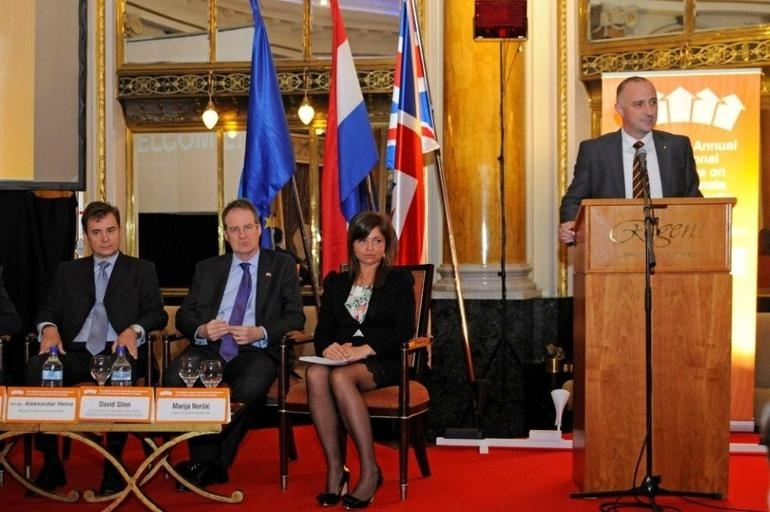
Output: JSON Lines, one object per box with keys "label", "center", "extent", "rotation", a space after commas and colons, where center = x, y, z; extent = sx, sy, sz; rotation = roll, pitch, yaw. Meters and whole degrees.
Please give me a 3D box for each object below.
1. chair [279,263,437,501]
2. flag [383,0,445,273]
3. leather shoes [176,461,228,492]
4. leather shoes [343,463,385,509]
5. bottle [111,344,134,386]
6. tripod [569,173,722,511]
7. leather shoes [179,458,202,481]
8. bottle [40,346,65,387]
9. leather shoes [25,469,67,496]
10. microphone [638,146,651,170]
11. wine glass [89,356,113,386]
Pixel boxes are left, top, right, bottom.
{"label": "chair", "center": [-0.159, 0.756, 5.735], "extent": [0.939, 1.378, 0.967], "rotation": [-1, 2, 2]}
{"label": "flag", "center": [0.203, -0.933, 6.689], "extent": [0.393, 1.971, 0.358], "rotation": [-1, 2, -1]}
{"label": "leather shoes", "center": [-1.147, 1.374, 5.503], "extent": [0.262, 0.112, 0.153], "rotation": [9, 0, -24]}
{"label": "leather shoes", "center": [-0.092, 1.377, 5.271], "extent": [0.119, 0.142, 0.343], "rotation": [6, 17, 34]}
{"label": "bottle", "center": [-1.520, 0.630, 5.078], "extent": [0.105, 0.234, 0.233], "rotation": [-1, 2, -18]}
{"label": "tripod", "center": [1.531, 0.541, 5.095], "extent": [0.898, 1.756, 0.489], "rotation": [0, 2, 20]}
{"label": "leather shoes", "center": [-1.225, 1.318, 5.491], "extent": [0.171, 0.120, 0.090], "rotation": [1, 2, 42]}
{"label": "bottle", "center": [-1.913, 0.631, 5.071], "extent": [0.101, 0.220, 0.226], "rotation": [-1, 2, -24]}
{"label": "leather shoes", "center": [-2.064, 1.383, 5.338], "extent": [0.226, 0.148, 0.354], "rotation": [-1, 2, -14]}
{"label": "microphone", "center": [1.472, -0.557, 5.032], "extent": [0.057, 0.046, 0.196], "rotation": [13, 31, 11]}
{"label": "wine glass", "center": [-1.639, 0.657, 5.102], "extent": [0.102, 0.179, 0.262], "rotation": [-1, 2, -17]}
